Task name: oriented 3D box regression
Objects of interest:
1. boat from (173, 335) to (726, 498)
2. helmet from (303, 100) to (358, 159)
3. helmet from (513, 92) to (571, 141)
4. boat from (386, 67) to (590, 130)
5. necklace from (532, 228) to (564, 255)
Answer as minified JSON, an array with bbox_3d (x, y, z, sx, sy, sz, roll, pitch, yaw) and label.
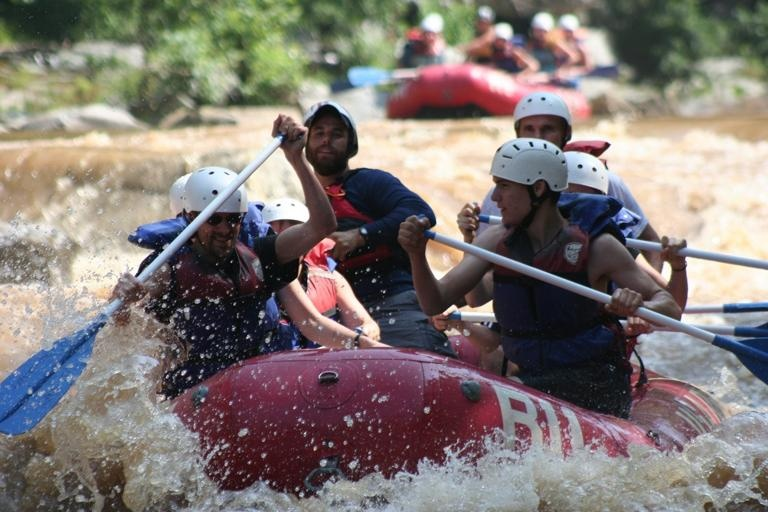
[{"bbox_3d":[0.136,1.744,14.247,4.331,7.509,1.431,1,88,9],"label":"boat"},{"bbox_3d":[-0.534,-1.331,12.191,0.465,0.279,0.631,-3,98,-4],"label":"helmet"},{"bbox_3d":[1.756,-1.508,12.619,0.464,0.616,0.556,1,56,7],"label":"helmet"},{"bbox_3d":[1.509,-2.825,23.240,2.417,3.284,0.980,-9,87,13],"label":"boat"},{"bbox_3d":[1.628,-0.135,11.240,0.078,0.176,0.311,41,90,14],"label":"necklace"}]
